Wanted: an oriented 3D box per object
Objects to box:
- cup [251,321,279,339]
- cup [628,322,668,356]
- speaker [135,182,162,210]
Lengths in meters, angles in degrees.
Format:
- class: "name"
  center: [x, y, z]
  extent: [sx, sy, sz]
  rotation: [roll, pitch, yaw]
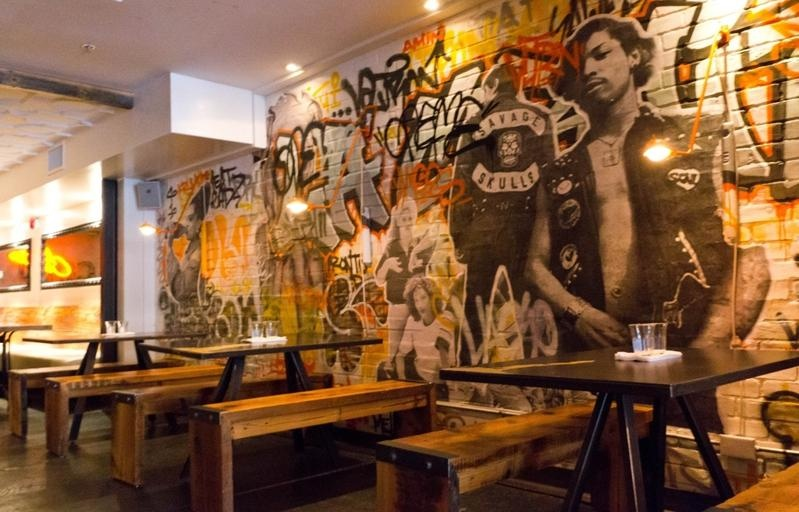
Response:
- class: "cup"
  center: [-1.198, 0.672, 5.186]
  extent: [0.306, 0.185, 0.156]
  rotation: [0, -1, -13]
- class: "cup"
  center: [1.533, 0.513, 3.583]
  extent: [0.204, 0.153, 0.224]
  rotation: [-3, -2, 0]
- class: "speaker"
  center: [-3.726, -0.910, 8.487]
  extent: [0.363, 0.417, 0.165]
  rotation: [-1, -8, -22]
